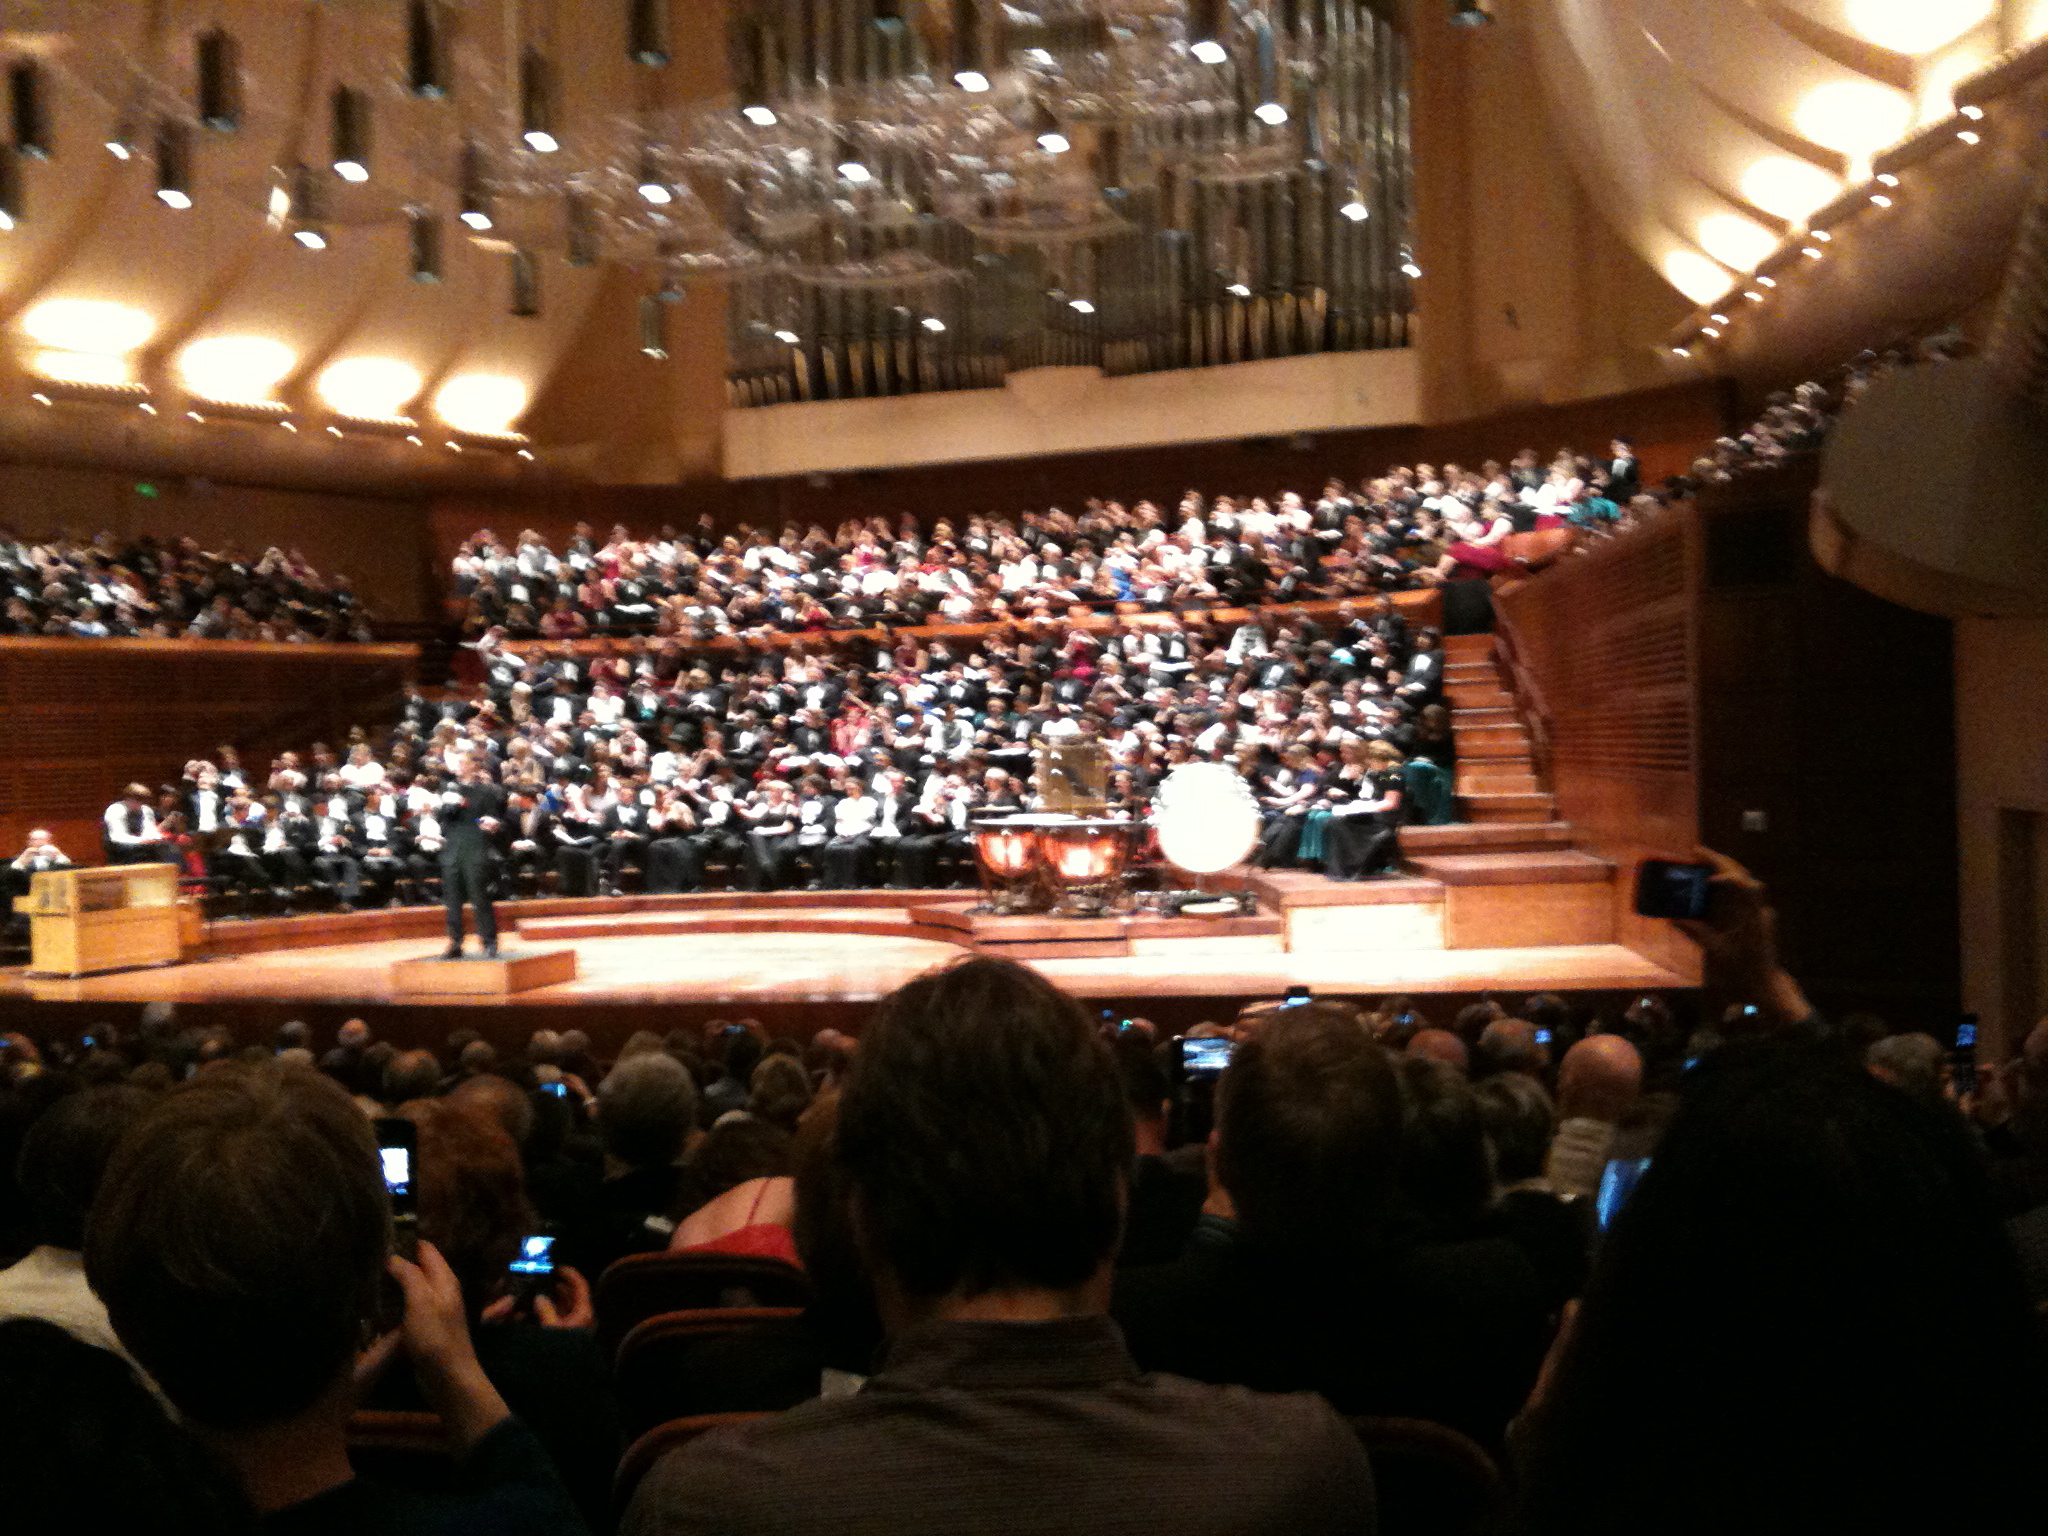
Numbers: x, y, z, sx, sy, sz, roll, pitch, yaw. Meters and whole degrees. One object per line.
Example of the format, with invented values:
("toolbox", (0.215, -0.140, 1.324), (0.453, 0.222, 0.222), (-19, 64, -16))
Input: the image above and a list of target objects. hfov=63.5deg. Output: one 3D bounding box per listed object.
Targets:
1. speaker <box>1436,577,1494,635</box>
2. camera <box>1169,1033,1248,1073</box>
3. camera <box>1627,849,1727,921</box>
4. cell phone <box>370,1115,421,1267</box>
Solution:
("speaker", (3.696, -1.339, 13.960), (0.459, 0.819, 0.449), (1, -1, 12))
("camera", (0.473, 0.749, 4.316), (0.134, 0.088, 0.196), (-4, -2, -7))
("camera", (0.981, 0.176, 2.478), (0.117, 0.126, 0.031), (0, -26, 30))
("cell phone", (-0.982, 0.636, 2.578), (0.111, 0.184, 0.019), (-4, -3, 25))
